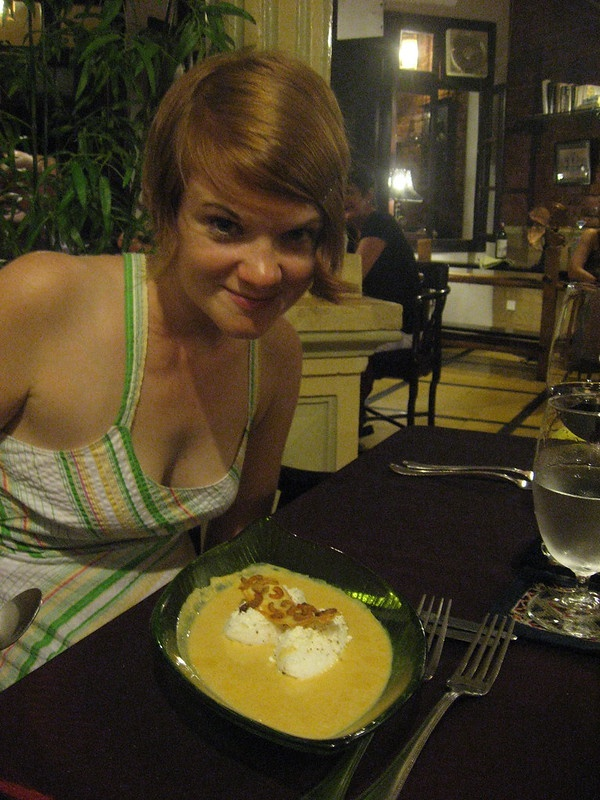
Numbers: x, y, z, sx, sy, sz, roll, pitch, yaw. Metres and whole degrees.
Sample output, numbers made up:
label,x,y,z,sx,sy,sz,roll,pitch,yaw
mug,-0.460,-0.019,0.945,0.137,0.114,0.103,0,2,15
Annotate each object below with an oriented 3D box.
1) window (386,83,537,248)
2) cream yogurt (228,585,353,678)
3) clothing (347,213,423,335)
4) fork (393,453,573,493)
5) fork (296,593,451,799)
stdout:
label,x,y,z,sx,sy,sz,roll,pitch,yaw
window,1.981,-3.016,8.669,1.467,2.084,0.642,1,14,-4
cream yogurt,-0.012,0.192,0.568,0.054,0.020,0.070,-5,19,-43
clothing,0.544,-0.956,4.400,0.368,0.643,0.454,2,-4,5
fork,0.245,0.120,1.014,0.314,0.025,0.073,2,44,6
fork,0.097,0.177,0.625,0.048,0.047,0.429,6,18,20
